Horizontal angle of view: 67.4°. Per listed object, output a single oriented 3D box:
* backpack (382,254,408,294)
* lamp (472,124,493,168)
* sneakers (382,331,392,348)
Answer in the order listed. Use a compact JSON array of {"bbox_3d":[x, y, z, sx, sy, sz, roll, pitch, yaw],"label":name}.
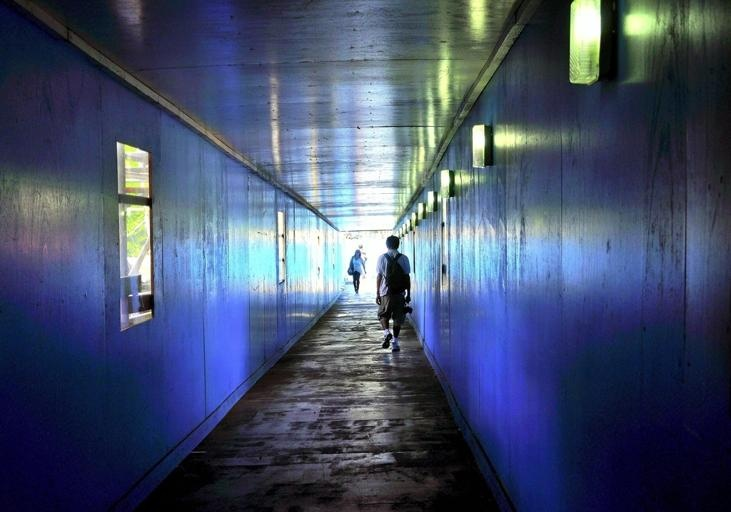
[{"bbox_3d":[0.458,0.278,8.229,0.342,0.621,0.274,-1,2,-10],"label":"backpack"},{"bbox_3d":[0.819,-0.769,3.857,0.103,0.290,0.199,-1,2,1],"label":"lamp"},{"bbox_3d":[0.340,1.365,8.660,0.132,0.323,0.134,2,20,-17],"label":"sneakers"}]
